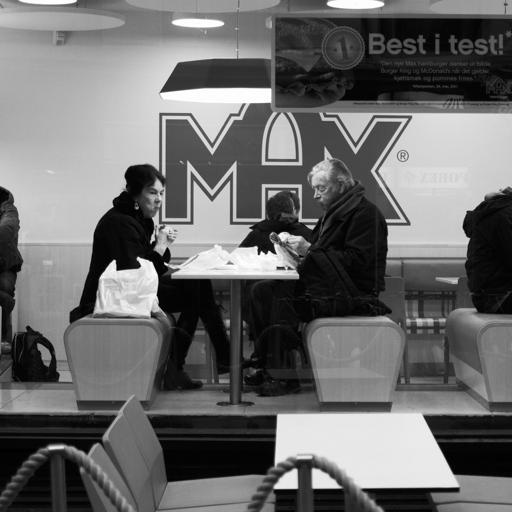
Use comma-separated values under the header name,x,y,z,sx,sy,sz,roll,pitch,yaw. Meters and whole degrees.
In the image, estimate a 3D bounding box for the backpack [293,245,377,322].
name,x,y,z,sx,sy,sz,roll,pitch,yaw
backpack,0.428,0.148,4.753,0.387,0.164,0.342,2,8,0

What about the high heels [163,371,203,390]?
name,x,y,z,sx,sy,sz,roll,pitch,yaw
high heels,-0.409,0.696,4.907,0.111,0.069,0.150,-1,-5,38

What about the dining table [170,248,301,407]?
name,x,y,z,sx,sy,sz,roll,pitch,yaw
dining table,-0.051,0.396,5.102,0.703,1.000,0.765,0,2,4

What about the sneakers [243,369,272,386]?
name,x,y,z,sx,sy,sz,roll,pitch,yaw
sneakers,0.001,0.666,4.850,0.120,0.090,0.081,-4,3,4

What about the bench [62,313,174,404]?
name,x,y,z,sx,sy,sz,roll,pitch,yaw
bench,-0.762,0.619,5.171,0.521,0.504,0.849,0,-4,2

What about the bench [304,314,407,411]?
name,x,y,z,sx,sy,sz,roll,pitch,yaw
bench,0.536,0.566,4.972,0.547,0.513,0.524,1,7,10

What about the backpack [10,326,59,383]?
name,x,y,z,sx,sy,sz,roll,pitch,yaw
backpack,-1.204,0.546,4.982,0.279,0.361,0.256,3,2,-2

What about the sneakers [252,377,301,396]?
name,x,y,z,sx,sy,sz,roll,pitch,yaw
sneakers,0.112,0.715,4.923,0.262,0.132,0.096,-6,1,1

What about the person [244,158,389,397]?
name,x,y,z,sx,sy,sz,roll,pitch,yaw
person,0.366,0.156,5.013,0.713,1.407,0.594,4,-10,-6
